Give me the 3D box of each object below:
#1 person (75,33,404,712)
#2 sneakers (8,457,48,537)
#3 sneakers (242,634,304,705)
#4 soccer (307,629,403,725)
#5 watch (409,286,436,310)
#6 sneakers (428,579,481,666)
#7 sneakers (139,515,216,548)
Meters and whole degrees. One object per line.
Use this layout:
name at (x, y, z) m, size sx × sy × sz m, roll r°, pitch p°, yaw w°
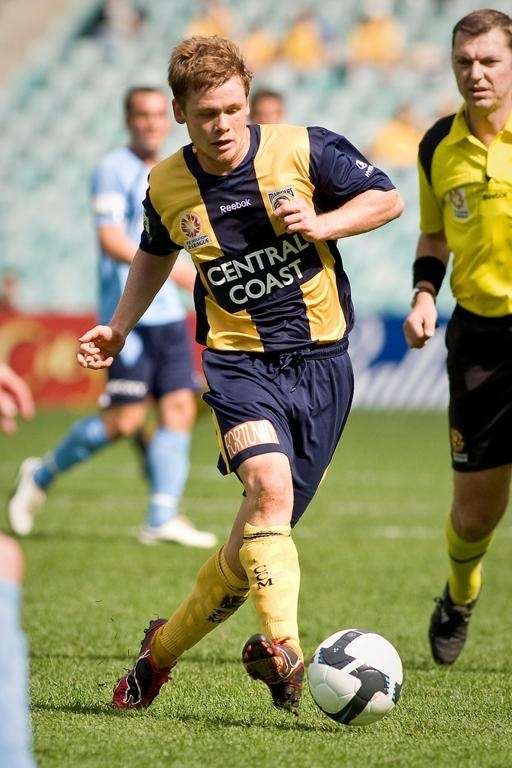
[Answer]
person at (-0.098, -0.017, 2.481) m, size 0.830 × 1.976 × 0.745 m, roll -5°, pitch -11°, yaw 34°
sneakers at (-1.293, 0.641, 4.732) m, size 0.205 × 0.434 × 0.168 m, roll 4°, pitch -9°, yaw 22°
sneakers at (0.081, 0.675, 1.985) m, size 0.104 × 0.143 × 0.277 m, roll -12°, pitch -13°, yaw 7°
soccer at (0.270, 0.815, 2.293) m, size 0.250 × 0.251 × 0.204 m, roll 0°, pitch -9°, yaw 7°
watch at (0.625, -0.313, 3.084) m, size 0.086 × 0.101 × 0.056 m, roll -3°, pitch -1°, yaw 6°
sneakers at (0.798, 0.949, 3.313) m, size 0.131 × 0.349 × 0.159 m, roll 10°, pitch -8°, yaw 8°
sneakers at (-0.482, 0.947, 5.395) m, size 0.588 × 0.221 × 0.185 m, roll 4°, pitch 10°, yaw -9°
